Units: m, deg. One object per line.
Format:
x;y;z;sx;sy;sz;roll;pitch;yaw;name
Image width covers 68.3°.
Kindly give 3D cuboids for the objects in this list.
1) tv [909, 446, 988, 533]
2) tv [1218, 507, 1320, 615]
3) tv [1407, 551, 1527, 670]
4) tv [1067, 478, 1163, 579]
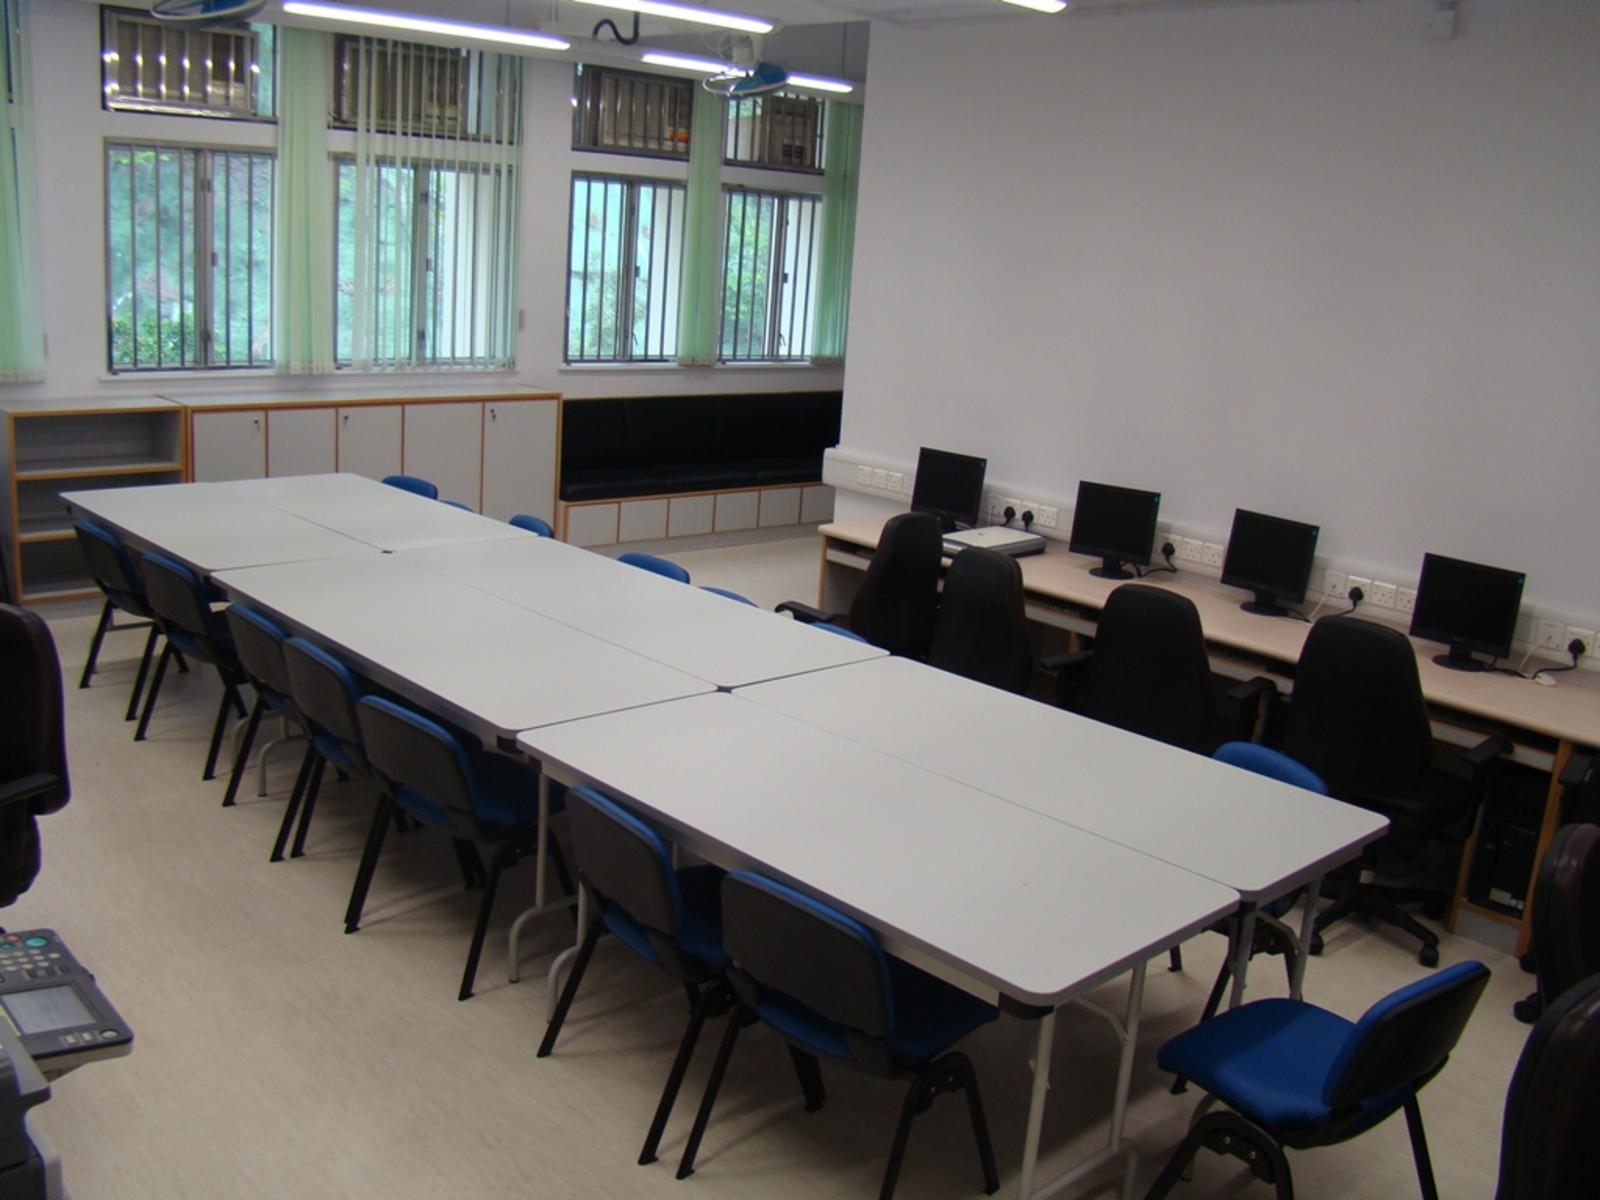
0.851;-0.617;6.626;0.463;0.504;0.108;17;10;40;tv
2.219;-0.178;5.548;0.408;0.457;0.158;13;8;37;tv
2.813;0.051;4.951;0.153;0.458;0.405;-3;10;-44;tv
1.620;-0.358;6.014;0.444;0.471;0.184;7;6;36;tv
